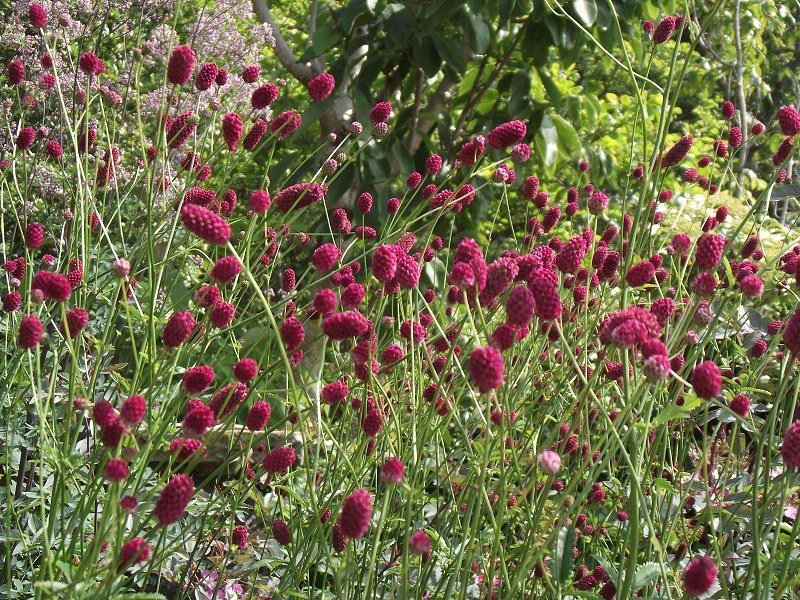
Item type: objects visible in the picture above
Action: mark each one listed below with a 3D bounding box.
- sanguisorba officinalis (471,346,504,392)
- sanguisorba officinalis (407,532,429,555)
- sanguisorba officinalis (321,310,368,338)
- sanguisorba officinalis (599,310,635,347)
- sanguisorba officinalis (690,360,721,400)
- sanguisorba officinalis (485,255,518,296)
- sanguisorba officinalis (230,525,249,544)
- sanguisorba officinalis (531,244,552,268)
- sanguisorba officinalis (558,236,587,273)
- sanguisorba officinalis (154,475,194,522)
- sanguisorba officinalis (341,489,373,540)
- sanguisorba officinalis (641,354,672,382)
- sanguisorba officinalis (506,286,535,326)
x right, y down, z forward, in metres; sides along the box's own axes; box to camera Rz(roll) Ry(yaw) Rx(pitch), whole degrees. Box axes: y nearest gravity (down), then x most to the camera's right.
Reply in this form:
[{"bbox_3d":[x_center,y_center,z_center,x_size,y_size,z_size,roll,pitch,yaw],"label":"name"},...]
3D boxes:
[{"bbox_3d":[0.215,0.166,2.297,0.075,0.114,0.102,3,18,8],"label":"sanguisorba officinalis"},{"bbox_3d":[0.047,0.606,2.317,0.050,0.064,0.056,-7,7,2],"label":"sanguisorba officinalis"},{"bbox_3d":[-0.136,0.063,2.365,0.094,0.071,0.062,-2,-16,-23],"label":"sanguisorba officinalis"},{"bbox_3d":[0.575,0.066,2.446,0.063,0.098,0.041,11,14,-10],"label":"sanguisorba officinalis"},{"bbox_3d":[0.776,0.189,2.331,0.065,0.094,0.084,-9,33,12],"label":"sanguisorba officinalis"},{"bbox_3d":[0.293,-0.074,2.619,0.064,0.069,0.123,29,62,30],"label":"sanguisorba officinalis"},{"bbox_3d":[-0.515,0.755,2.946,0.043,0.069,0.049,1,10,6],"label":"sanguisorba officinalis"},{"bbox_3d":[0.456,-0.148,2.897,0.051,0.035,0.073,-16,36,-7],"label":"sanguisorba officinalis"},{"bbox_3d":[0.520,-0.149,2.715,0.044,0.124,0.071,1,45,-11],"label":"sanguisorba officinalis"},{"bbox_3d":[-0.567,0.492,2.279,0.070,0.129,0.053,25,16,-34],"label":"sanguisorba officinalis"},{"bbox_3d":[-0.104,0.518,2.214,0.064,0.121,0.050,1,-11,26],"label":"sanguisorba officinalis"},{"bbox_3d":[0.650,0.167,2.303,0.051,0.072,0.064,-3,-3,1],"label":"sanguisorba officinalis"},{"bbox_3d":[0.301,0.013,2.332,0.067,0.100,0.057,1,10,-40],"label":"sanguisorba officinalis"}]
